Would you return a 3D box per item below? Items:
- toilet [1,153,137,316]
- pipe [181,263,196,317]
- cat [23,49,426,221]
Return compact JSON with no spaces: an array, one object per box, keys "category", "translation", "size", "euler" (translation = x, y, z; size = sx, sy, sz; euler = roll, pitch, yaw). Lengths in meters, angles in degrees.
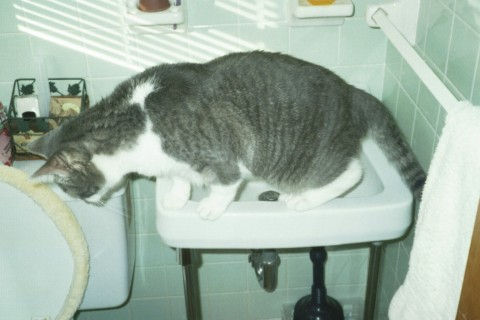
[{"category":"toilet","translation":[-0.447,0.241,1.590],"size":[0.472,0.502,0.474],"euler":[0,4,-1]},{"category":"pipe","translation":[-0.152,0.411,1.485],"size":[0.055,0.154,0.079],"euler":[-4,29,-3]},{"category":"cat","translation":[-0.001,-0.079,1.513],"size":[1.238,0.502,0.399],"euler":[-6,37,-8]}]
